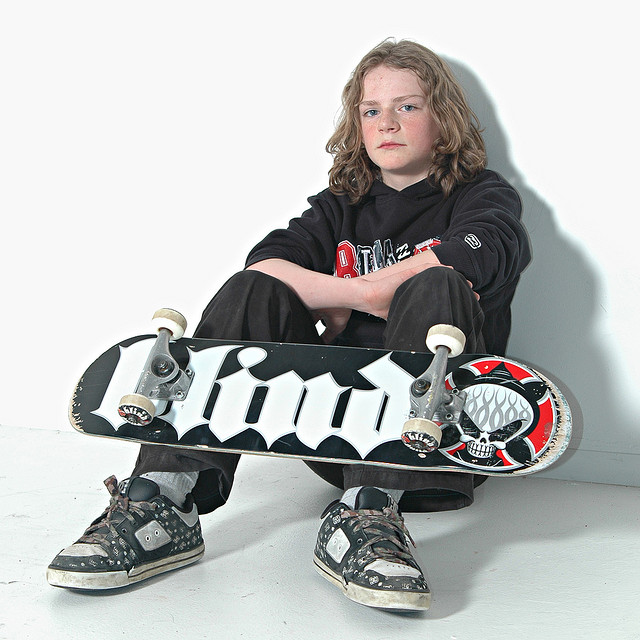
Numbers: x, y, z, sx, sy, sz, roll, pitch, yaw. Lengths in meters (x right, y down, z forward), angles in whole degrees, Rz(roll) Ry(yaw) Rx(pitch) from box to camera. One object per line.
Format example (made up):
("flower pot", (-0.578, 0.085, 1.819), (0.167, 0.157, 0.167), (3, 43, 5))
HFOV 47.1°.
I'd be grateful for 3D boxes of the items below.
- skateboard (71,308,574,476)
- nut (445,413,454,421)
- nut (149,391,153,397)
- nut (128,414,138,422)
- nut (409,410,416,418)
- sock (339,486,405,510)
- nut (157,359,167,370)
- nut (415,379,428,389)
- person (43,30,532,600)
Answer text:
("skateboard", (-0.056, 0.200, 1.813), (1.289, 0.333, 0.233), (2, -33, 19))
("nut", (0.298, 0.222, 1.681), (0.020, 0.015, 0.006), (1, 10, 2))
("nut", (-0.406, 0.176, 1.765), (0.006, 0.003, 0.021), (18, 30, -5))
("nut", (-0.435, 0.229, 1.717), (0.020, 0.024, 0.021), (-3, 11, -25))
("nut", (0.212, 0.213, 1.666), (0.012, 0.012, 0.017), (-4, 10, -29))
("sock", (0.110, 0.404, 1.695), (0.170, 0.057, 0.051), (0, 8, 1))
("nut", (-0.389, 0.108, 1.804), (0.024, 0.019, 0.005), (-3, -28, 6))
("nut", (0.234, 0.146, 1.681), (0.027, 0.021, 0.009), (2, 10, 3))
("person", (0.088, -0.089, 2.063), (0.965, 1.320, 1.413), (0, 8, 39))
